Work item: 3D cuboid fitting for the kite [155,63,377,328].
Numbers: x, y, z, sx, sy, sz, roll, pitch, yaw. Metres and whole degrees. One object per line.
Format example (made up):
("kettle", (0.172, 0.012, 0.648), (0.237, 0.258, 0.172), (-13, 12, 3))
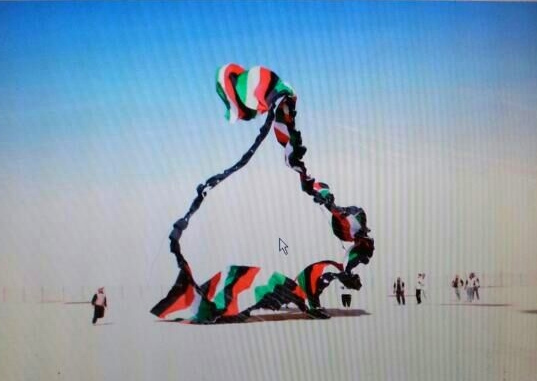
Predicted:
("kite", (-0.071, 0.085, 4.372), (1.345, 1.720, 0.218), (1, 5, 3))
